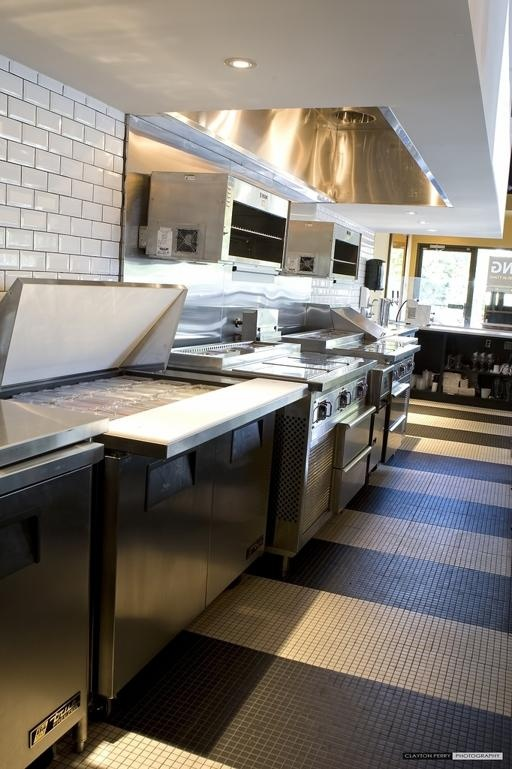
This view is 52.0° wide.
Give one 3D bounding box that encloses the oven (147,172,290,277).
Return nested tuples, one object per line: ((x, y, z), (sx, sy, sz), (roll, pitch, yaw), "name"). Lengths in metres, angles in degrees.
((-0.168, -0.767, 2.530), (0.398, 0.439, 0.703), (6, 4, 24), "oven")

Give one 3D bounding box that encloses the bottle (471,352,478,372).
((2.891, -0.315, 6.959), (0.092, 0.186, 0.299), (6, 4, 22), "bottle")

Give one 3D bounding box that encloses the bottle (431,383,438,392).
((2.376, 0.032, 7.001), (0.076, 0.094, 0.159), (6, 4, 21), "bottle")

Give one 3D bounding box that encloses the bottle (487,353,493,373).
((3.045, -0.290, 6.897), (0.072, 0.242, 0.095), (4, 12, 10), "bottle")

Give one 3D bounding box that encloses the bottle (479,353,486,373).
((2.965, -0.305, 6.897), (0.079, 0.185, 0.169), (6, 4, 23), "bottle")

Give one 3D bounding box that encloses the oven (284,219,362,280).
((0.529, -0.992, 3.938), (0.334, 0.386, 0.611), (10, 12, 28), "oven")

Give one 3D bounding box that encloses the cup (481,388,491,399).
((2.952, 0.118, 6.768), (0.116, 0.127, 0.119), (1, -1, 0), "cup")
